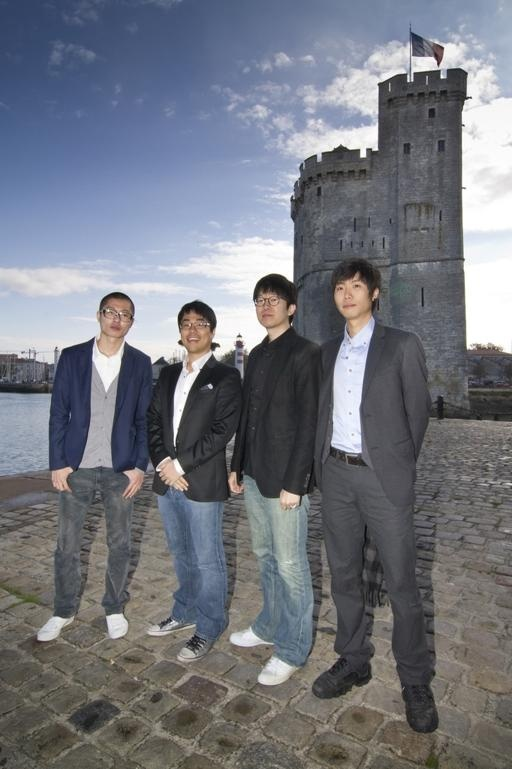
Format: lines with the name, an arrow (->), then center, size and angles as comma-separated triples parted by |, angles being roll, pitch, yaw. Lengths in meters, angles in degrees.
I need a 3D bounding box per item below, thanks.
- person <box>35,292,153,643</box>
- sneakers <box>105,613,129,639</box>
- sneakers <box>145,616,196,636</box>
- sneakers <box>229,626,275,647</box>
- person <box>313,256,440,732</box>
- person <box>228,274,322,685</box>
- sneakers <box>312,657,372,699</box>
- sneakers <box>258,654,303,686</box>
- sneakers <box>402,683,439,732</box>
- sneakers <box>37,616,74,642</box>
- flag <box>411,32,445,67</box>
person -> -0.983, 0.450, 3.275 | 0.629, 2.053, 0.514 | 1, 0, -12
sneakers -> -0.827, 1.429, 3.107 | 0.128, 0.100, 0.151 | 1, 1, -14
sneakers -> -0.538, 1.469, 3.209 | 0.235, 0.098, 0.087 | 8, -9, -21
sneakers -> -0.027, 1.464, 3.090 | 0.251, 0.105, 0.104 | 5, -10, 5
person -> 0.577, 0.424, 2.622 | 0.662, 1.768, 0.594 | 1, 1, 22
person -> 0.111, 0.450, 2.931 | 0.445, 1.454, 0.644 | 1, 0, -12
sneakers -> 0.418, 1.435, 2.633 | 0.316, 0.150, 0.122 | 6, 15, -44
sneakers -> 0.095, 1.455, 2.672 | 0.107, 0.085, 0.202 | 1, 1, 42
sneakers -> 0.734, 1.443, 2.342 | 0.141, 0.148, 0.187 | 1, 1, 8
sneakers -> -1.194, 1.433, 3.092 | 0.070, 0.078, 0.190 | 9, -6, 14
flag -> 9.225, -18.427, 28.801 | 1.578, 1.414, 1.354 | 1, 1, 29
